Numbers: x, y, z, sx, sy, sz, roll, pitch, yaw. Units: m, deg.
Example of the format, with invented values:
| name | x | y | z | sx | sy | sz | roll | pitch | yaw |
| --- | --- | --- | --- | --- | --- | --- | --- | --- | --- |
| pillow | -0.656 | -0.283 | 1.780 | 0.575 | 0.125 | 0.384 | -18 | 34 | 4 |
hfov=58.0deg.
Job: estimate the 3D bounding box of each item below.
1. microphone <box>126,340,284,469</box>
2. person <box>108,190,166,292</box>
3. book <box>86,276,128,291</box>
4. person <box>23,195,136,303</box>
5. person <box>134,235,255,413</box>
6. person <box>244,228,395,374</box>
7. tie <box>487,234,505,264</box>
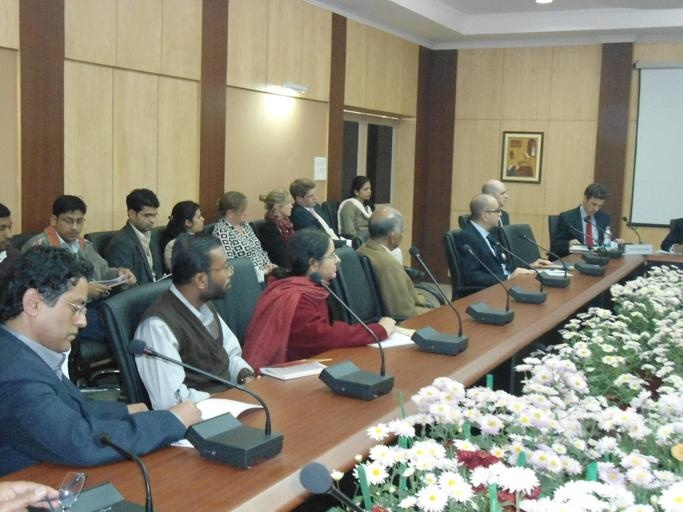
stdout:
| name | x | y | z | sx | sy | sz | roll | pitch | yaw |
| --- | --- | --- | --- | --- | --- | --- | --- | --- | --- |
| microphone | -0.449 | 0.450 | 1.926 | 0.496 | 0.331 | 0.190 | 2 | -1 | 24 |
| person | -1.457 | -0.055 | 4.618 | 0.561 | 0.841 | 0.579 | 1 | 7 | -7 |
| book | -1.407 | 0.160 | 3.717 | 0.157 | 0.060 | 0.153 | -6 | -1 | -14 |
| person | -1.789 | 0.040 | 4.179 | 0.693 | 0.907 | 0.496 | -3 | 8 | -31 |
| person | -0.638 | 0.279 | 2.645 | 0.387 | 0.714 | 0.727 | 5 | 8 | 16 |
| person | -0.118 | 0.176 | 3.319 | 0.803 | 1.109 | 0.520 | -1 | 11 | -1 |
| tie | 1.231 | -0.052 | 4.922 | 0.059 | 0.214 | 0.158 | -14 | 3 | 38 |
